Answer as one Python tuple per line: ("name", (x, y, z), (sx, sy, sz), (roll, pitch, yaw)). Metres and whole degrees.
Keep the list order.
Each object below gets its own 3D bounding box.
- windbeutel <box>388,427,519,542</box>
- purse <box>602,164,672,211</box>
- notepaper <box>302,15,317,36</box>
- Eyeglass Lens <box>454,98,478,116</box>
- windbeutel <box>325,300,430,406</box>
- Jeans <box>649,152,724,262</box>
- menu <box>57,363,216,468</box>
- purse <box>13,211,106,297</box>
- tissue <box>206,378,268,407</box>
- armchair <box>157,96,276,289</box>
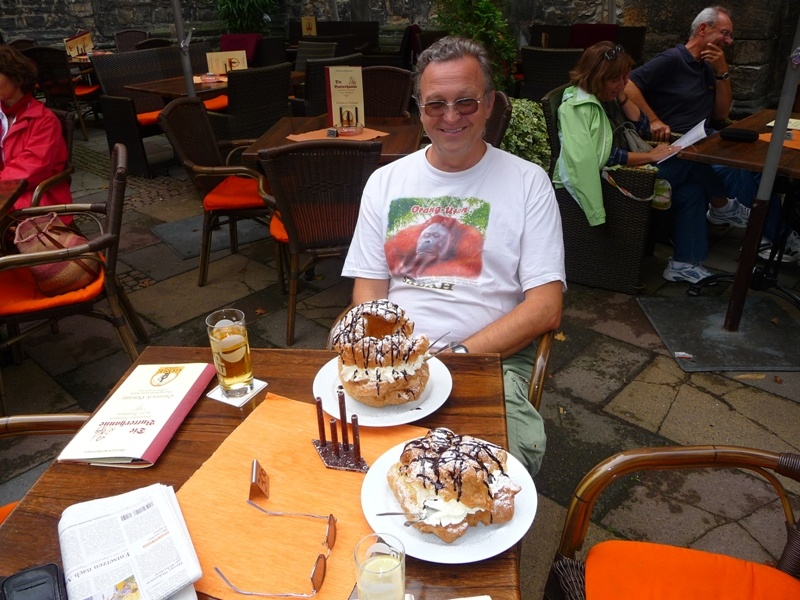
("windbeutel", (0.123, 0.449, 1.305), (0.270, 0.078, 0.255), (9, 25, 23))
("purse", (1.682, -0.804, 3.880), (0.429, 0.128, 0.305), (6, 29, 16))
("notepaper", (-1.308, -3.922, 7.811), (0.189, 0.244, 0.374), (-7, 28, -9))
("Eyeglass Lens", (0.256, -0.770, 2.162), (0.085, 0.032, 0.078), (1, 25, 9))
("windbeutel", (-0.052, 0.172, 1.711), (0.312, 0.205, 0.307), (0, 44, 5))
("Jeans", (2.114, -0.710, 4.074), (0.402, 0.830, 0.568), (-12, 22, 22))
("menu", (-0.770, 0.321, 1.619), (0.291, 0.045, 0.319), (-1, 33, 11))
("purse", (-1.831, -0.234, 2.964), (0.341, 0.390, 0.440), (-20, 33, -30))
("tissue", (-0.520, 0.290, 1.692), (0.098, 0.007, 0.101), (13, 32, 21))
("armchair", (-1.376, -0.801, 4.154), (0.605, 1.395, 0.951), (-13, 31, -17))
